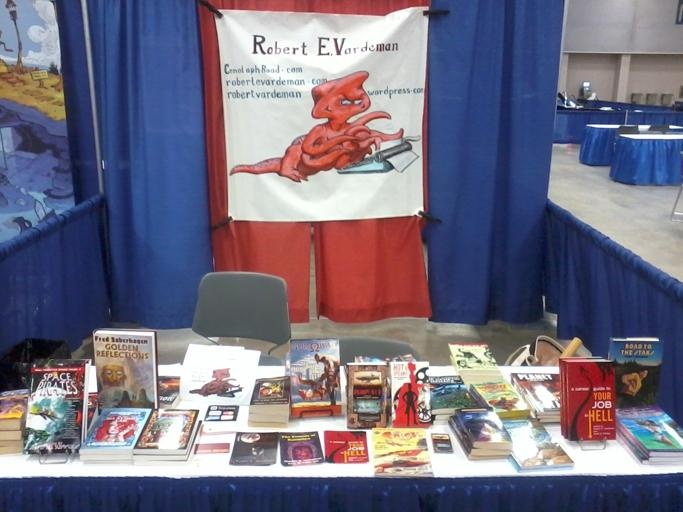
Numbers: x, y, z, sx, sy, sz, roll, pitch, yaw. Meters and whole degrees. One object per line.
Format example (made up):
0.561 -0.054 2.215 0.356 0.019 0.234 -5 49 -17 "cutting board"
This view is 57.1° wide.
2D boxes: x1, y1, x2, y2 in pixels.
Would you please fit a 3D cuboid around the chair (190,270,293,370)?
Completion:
-0.573 0.304 3.774 0.580 0.597 0.478 3 11 -2 "chair"
